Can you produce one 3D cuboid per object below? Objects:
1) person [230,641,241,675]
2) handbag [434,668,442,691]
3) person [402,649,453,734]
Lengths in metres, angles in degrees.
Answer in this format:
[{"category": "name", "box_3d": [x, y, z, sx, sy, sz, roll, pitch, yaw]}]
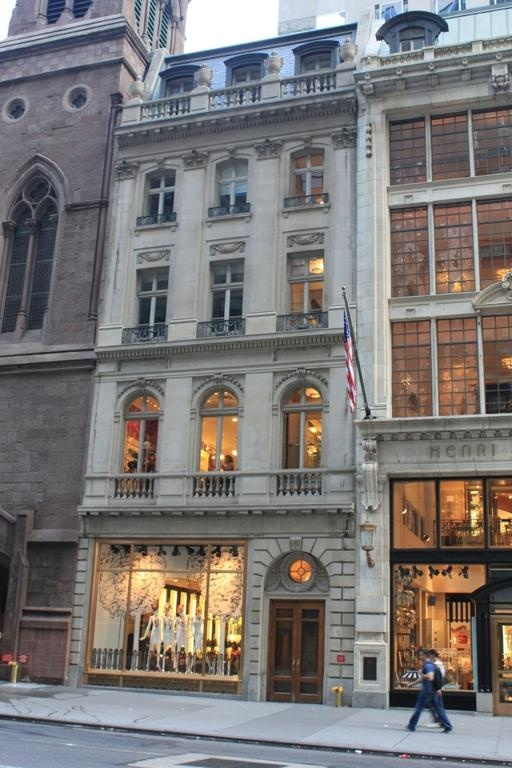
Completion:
[{"category": "person", "box_3d": [-0.572, 7.701, 21.567, 0.390, 0.887, 0.120, -17, -32, 36]}, {"category": "handbag", "box_3d": [3.421, 5.594, 14.626, 0.150, 0.432, 0.384, -6, -26, 18]}, {"category": "person", "box_3d": [3.301, 5.932, 14.938, 0.826, 1.508, 1.340, -3, -25, 11]}]
